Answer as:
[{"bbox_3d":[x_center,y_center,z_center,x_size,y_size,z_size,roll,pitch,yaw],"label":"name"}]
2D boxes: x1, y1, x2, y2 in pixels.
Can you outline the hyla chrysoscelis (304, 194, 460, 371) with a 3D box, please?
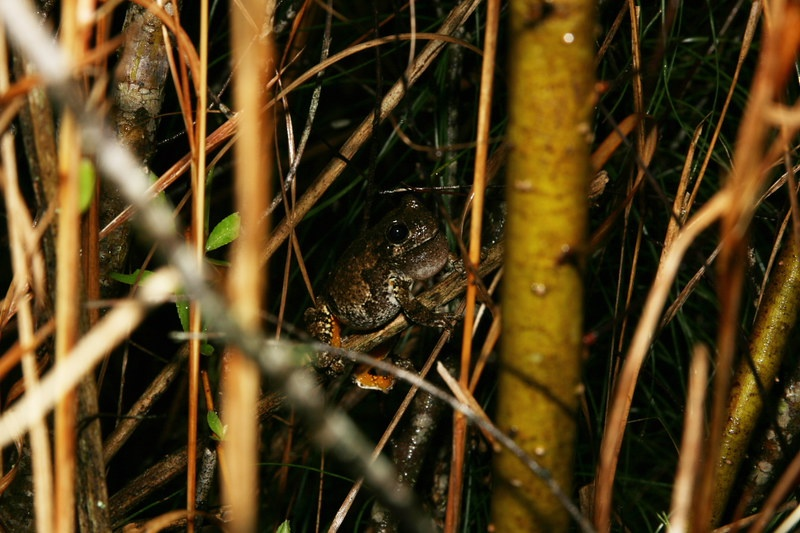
[{"bbox_3d":[-0.038,0.004,2.780,0.506,0.362,0.536,-21,17,-5],"label":"hyla chrysoscelis"}]
